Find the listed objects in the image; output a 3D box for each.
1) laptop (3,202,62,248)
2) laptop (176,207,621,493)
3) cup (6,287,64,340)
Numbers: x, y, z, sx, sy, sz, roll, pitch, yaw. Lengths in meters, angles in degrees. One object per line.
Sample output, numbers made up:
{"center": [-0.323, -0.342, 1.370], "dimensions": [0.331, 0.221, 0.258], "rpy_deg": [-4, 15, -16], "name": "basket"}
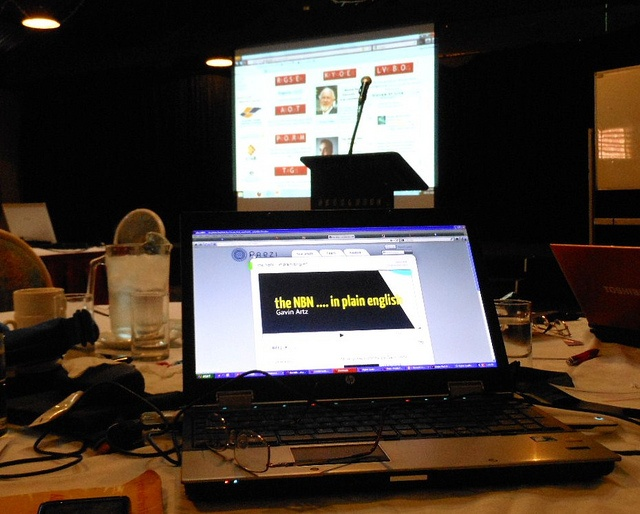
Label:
{"center": [-1.912, -0.206, 4.017], "dimensions": [0.087, 0.287, 0.333], "rpy_deg": [-3, 8, 43], "name": "laptop"}
{"center": [0.037, 0.164, 1.143], "dimensions": [0.608, 0.338, 0.535], "rpy_deg": [0, 3, -8], "name": "laptop"}
{"center": [-0.637, 0.127, 1.369], "dimensions": [0.125, 0.084, 0.089], "rpy_deg": [-4, 8, -23], "name": "cup"}
